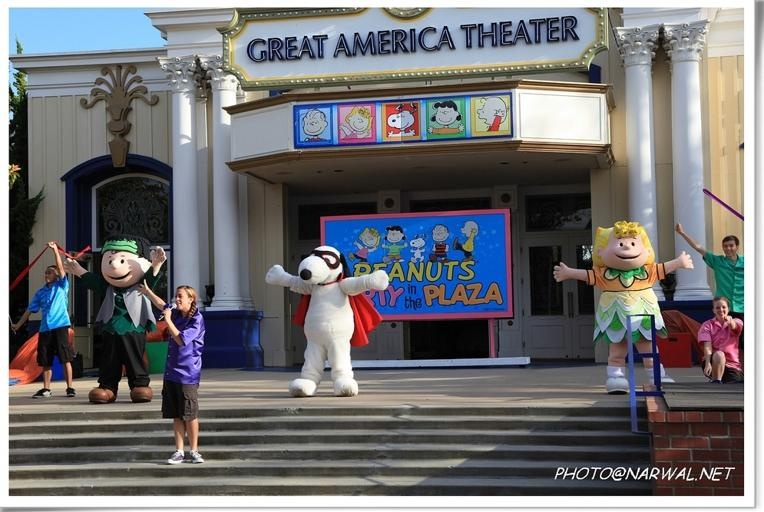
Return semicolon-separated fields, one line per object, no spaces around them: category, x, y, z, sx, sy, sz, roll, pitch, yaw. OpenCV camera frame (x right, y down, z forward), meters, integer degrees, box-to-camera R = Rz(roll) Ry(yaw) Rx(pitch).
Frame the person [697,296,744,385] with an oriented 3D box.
person;5.124;1.255;12.796;0.673;1.271;0.645;-1;-3;1

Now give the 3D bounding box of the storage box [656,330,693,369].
storage box;4.478;1.474;13.045;0.579;0.599;0.598;0;3;17

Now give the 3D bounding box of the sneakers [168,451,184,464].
sneakers;-2.690;2.662;11.211;0.099;0.132;0.279;-2;-9;18

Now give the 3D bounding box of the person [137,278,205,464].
person;-2.680;1.580;11.353;0.617;2.342;0.875;0;-3;-16

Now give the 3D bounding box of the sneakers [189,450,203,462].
sneakers;-2.434;2.645;11.178;0.176;0.181;0.097;0;-3;-9

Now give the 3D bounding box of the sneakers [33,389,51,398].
sneakers;-5.658;2.284;14.163;0.287;0.139;0.396;0;-3;-24
